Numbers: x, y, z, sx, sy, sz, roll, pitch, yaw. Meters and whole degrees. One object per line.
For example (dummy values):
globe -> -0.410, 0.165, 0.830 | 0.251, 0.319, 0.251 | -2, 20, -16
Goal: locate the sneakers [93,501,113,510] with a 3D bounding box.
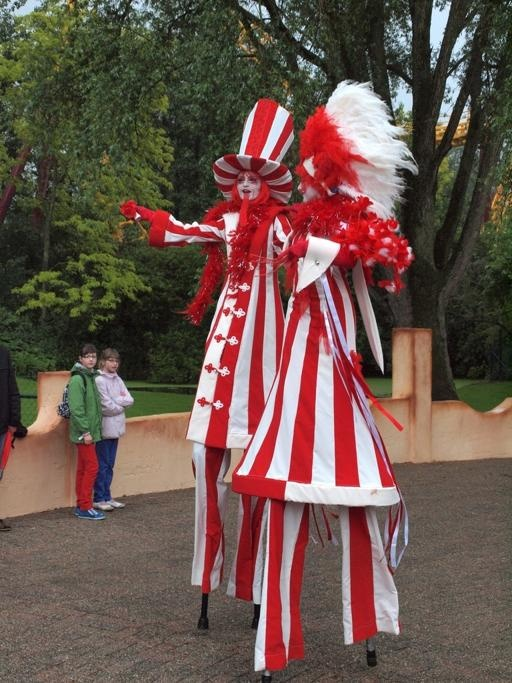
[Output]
sneakers -> -1.346, 1.444, 6.298 | 0.174, 0.059, 0.062 | -2, -2, 37

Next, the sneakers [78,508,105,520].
sneakers -> -1.399, 1.449, 6.012 | 0.258, 0.090, 0.086 | -1, -1, 10

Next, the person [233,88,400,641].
person -> 0.291, 0.010, 3.108 | 0.760, 2.445, 0.568 | 1, -2, -13

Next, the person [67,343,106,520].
person -> -1.430, 0.758, 6.062 | 0.318, 1.446, 0.328 | 1, -1, -6
